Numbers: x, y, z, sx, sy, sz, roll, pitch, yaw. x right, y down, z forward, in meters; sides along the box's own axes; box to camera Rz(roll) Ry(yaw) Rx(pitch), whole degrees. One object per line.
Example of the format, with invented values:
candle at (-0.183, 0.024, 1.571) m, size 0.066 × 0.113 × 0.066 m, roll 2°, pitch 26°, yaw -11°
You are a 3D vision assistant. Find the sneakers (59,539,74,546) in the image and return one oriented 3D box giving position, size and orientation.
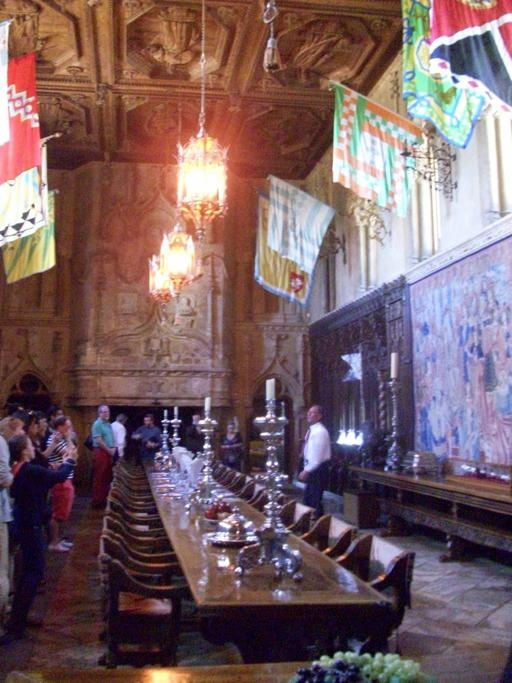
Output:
sneakers at (-2.164, 2.297, 7.286) m, size 0.137 × 0.080 × 0.225 m, roll 14°, pitch -7°, yaw -22°

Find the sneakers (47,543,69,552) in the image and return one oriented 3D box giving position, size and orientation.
sneakers at (-2.181, 2.269, 7.049) m, size 0.179 × 0.075 × 0.099 m, roll 0°, pitch 2°, yaw -14°

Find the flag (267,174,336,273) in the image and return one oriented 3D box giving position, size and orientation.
flag at (0.663, -1.906, 10.184) m, size 1.009 × 1.629 × 0.517 m, roll 0°, pitch -5°, yaw 14°
